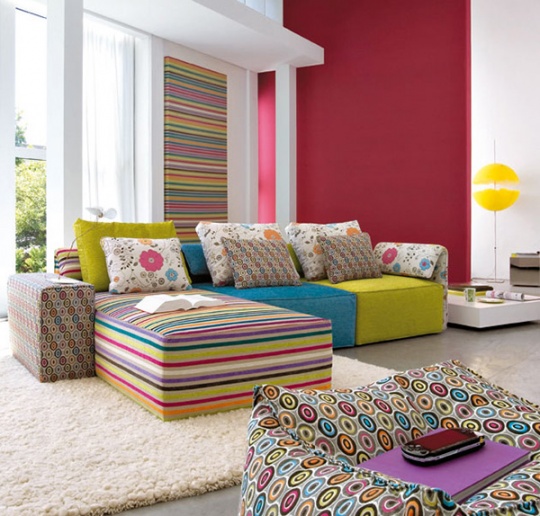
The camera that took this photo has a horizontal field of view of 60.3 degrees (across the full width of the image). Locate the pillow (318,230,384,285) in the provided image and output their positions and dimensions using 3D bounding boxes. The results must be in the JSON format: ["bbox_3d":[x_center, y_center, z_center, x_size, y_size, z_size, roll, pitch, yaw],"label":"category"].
[{"bbox_3d":[0.639,-0.008,4.047,0.558,0.417,0.165,-5,-22,-32],"label":"pillow"}]

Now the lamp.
[{"bbox_3d":[3.631,-0.622,7.577,0.708,1.993,0.868,2,4,25],"label":"lamp"}]

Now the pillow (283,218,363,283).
[{"bbox_3d":[0.405,-0.081,4.135,0.642,0.519,0.188,-8,-8,-37],"label":"pillow"}]

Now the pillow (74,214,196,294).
[{"bbox_3d":[-0.992,-0.018,3.332,0.881,0.583,0.284,2,-39,-37],"label":"pillow"}]

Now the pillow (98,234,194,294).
[{"bbox_3d":[-0.867,0.050,3.224,0.602,0.352,0.231,-1,7,-43],"label":"pillow"}]

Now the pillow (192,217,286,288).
[{"bbox_3d":[-0.346,-0.078,3.745,0.700,0.546,0.194,-2,-30,-29],"label":"pillow"}]

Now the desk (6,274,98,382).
[{"bbox_3d":[-1.369,0.359,2.928,0.569,0.647,1.016,-2,7,-32],"label":"desk"}]

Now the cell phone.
[{"bbox_3d":[0.299,0.323,0.829,0.128,0.018,0.056,-6,8,-34],"label":"cell phone"}]

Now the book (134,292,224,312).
[{"bbox_3d":[-0.489,0.240,2.531,0.325,0.046,0.160,-4,6,-28],"label":"book"}]
